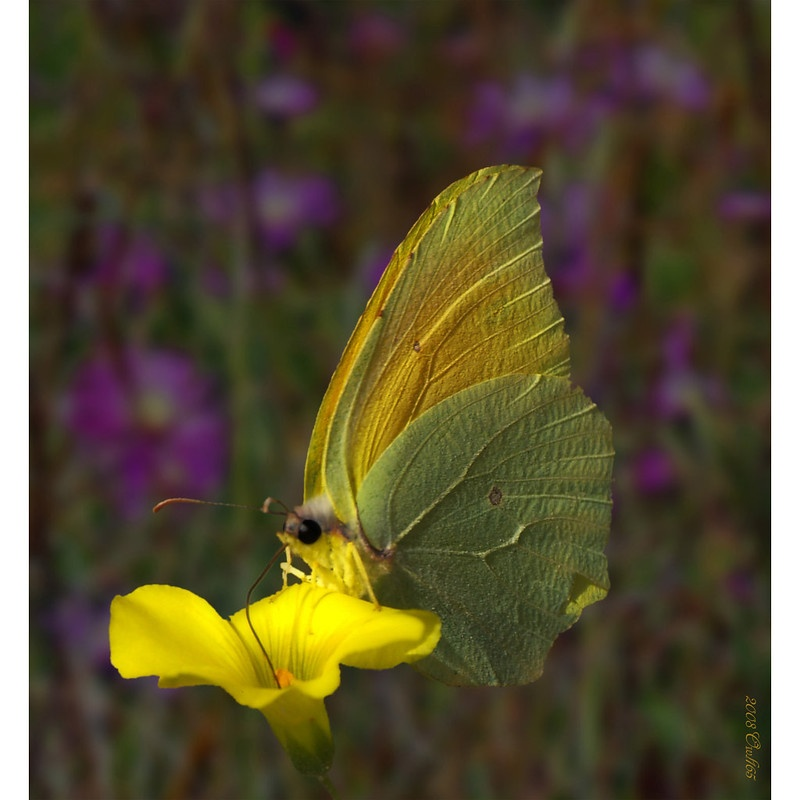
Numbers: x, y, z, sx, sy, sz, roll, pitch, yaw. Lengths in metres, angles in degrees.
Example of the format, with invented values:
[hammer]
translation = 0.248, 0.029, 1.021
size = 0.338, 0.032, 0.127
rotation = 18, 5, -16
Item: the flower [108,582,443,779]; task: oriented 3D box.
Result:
[flower]
translation = -0.178, 0.304, 1.468
size = 0.254, 0.268, 0.175
rotation = 5, 90, 13
